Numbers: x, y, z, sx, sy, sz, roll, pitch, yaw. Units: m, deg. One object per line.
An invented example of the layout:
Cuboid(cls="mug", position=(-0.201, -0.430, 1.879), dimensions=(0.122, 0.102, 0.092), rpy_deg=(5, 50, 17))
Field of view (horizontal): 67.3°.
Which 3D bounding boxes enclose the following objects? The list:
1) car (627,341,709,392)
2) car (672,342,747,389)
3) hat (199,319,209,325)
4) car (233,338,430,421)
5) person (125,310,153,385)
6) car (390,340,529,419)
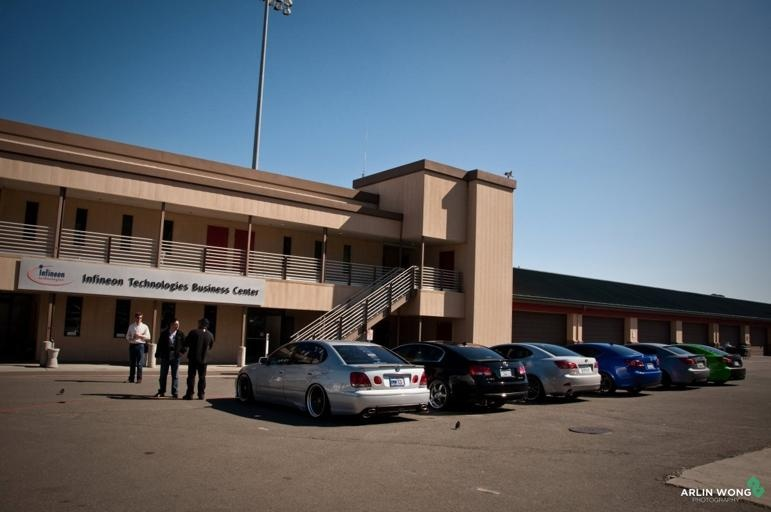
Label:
Cuboid(cls="car", position=(11.064, 4.116, 21.632), dimensions=(1.573, 1.113, 3.613), rpy_deg=(4, -5, -42))
Cuboid(cls="car", position=(13.287, 4.613, 24.971), dimensions=(1.704, 1.076, 3.844), rpy_deg=(1, -2, -28))
Cuboid(cls="hat", position=(-5.052, 1.859, 16.086), dimensions=(0.187, 0.225, 0.226), rpy_deg=(-9, 32, -15))
Cuboid(cls="car", position=(-1.551, 2.933, 14.170), dimensions=(3.954, 1.093, 1.931), rpy_deg=(-2, -7, 43))
Cuboid(cls="person", position=(-8.165, 3.002, 19.063), dimensions=(0.614, 2.241, 1.467), rpy_deg=(4, -3, -23))
Cuboid(cls="car", position=(2.028, 3.161, 15.438), dimensions=(3.343, 0.936, 1.562), rpy_deg=(-2, -6, 42))
